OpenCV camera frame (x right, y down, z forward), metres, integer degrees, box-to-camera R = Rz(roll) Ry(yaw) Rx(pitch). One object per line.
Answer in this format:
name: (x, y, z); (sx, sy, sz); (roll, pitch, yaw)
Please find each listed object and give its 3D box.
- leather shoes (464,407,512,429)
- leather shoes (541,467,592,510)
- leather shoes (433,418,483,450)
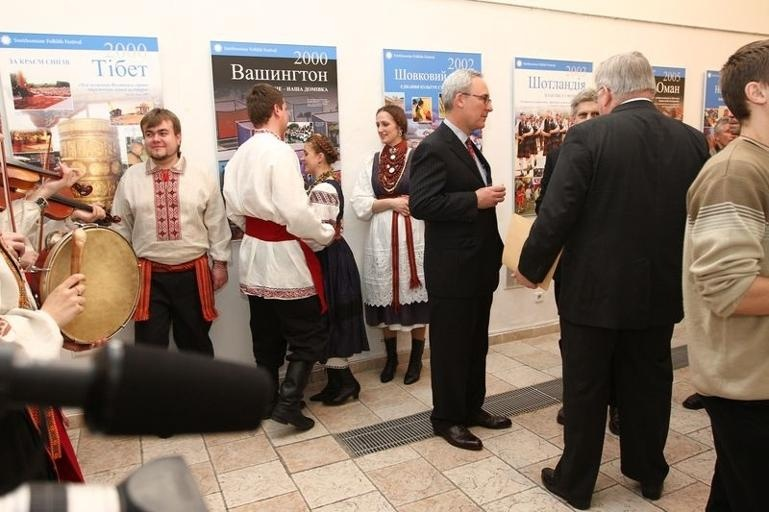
leather shoes: (0.699, 1.111, 3.714); (0.352, 0.133, 0.117); (-6, 2, 23)
leather shoes: (0.974, 1.268, 2.971); (0.099, 0.120, 0.282); (-8, 20, -25)
leather shoes: (0.461, 1.147, 3.507); (0.130, 0.150, 0.366); (-9, 9, -39)
